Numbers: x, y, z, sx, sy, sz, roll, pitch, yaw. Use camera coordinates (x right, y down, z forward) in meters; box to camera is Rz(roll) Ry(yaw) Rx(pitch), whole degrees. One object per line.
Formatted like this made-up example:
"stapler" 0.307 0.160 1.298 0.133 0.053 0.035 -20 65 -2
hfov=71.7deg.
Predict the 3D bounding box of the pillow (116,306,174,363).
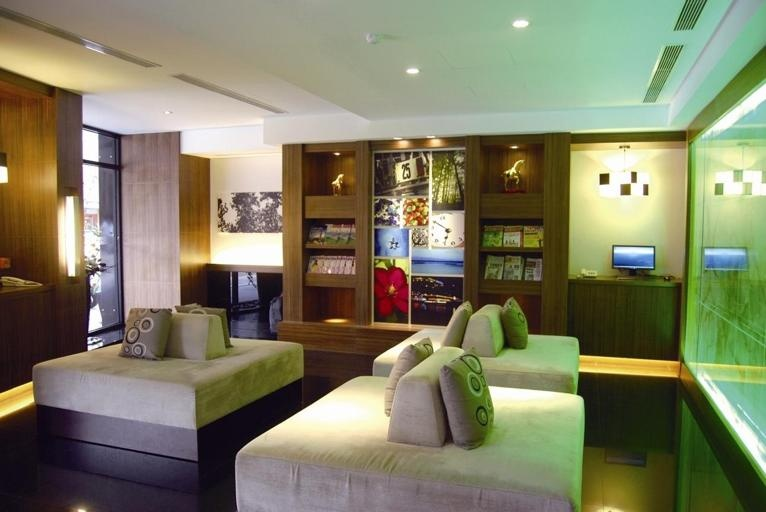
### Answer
"pillow" -2.528 0.826 5.621 0.653 0.531 0.265 -2 3 29

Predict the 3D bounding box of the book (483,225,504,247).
"book" 1.642 -0.276 7.911 0.307 0.360 0.052 0 -11 17

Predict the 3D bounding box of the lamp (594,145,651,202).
"lamp" 3.513 -1.178 7.825 0.785 0.773 0.802 0 -1 26

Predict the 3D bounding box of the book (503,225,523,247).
"book" 1.910 -0.286 7.820 0.280 0.268 0.172 3 13 10

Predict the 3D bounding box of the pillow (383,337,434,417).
"pillow" 0.254 1.088 4.691 0.278 0.513 0.812 5 -4 23

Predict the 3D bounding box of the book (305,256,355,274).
"book" -0.830 0.166 8.458 0.871 0.261 0.309 3 -7 9

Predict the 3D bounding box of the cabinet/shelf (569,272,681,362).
"cabinet/shelf" 3.435 0.915 7.494 1.148 1.087 0.390 1 4 17

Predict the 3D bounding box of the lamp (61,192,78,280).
"lamp" -4.078 -0.243 6.894 0.125 1.038 0.257 -2 13 -12

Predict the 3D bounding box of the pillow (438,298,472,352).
"pillow" 0.826 0.774 5.929 0.278 0.475 0.545 7 6 16

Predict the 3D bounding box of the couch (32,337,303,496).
"couch" -2.266 1.565 5.997 2.594 0.981 2.591 0 2 2

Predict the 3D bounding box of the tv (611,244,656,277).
"tv" 3.755 0.069 7.910 0.492 0.368 0.145 0 0 21

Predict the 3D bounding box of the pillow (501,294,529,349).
"pillow" 1.560 0.788 6.312 0.317 0.531 0.670 3 9 18

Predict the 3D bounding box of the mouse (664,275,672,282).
"mouse" 4.105 0.336 7.639 0.113 0.100 0.115 4 16 22

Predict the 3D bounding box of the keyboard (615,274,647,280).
"keyboard" 3.700 0.322 7.792 0.197 0.081 0.276 -1 -1 19

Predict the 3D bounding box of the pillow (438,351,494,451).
"pillow" 0.616 1.144 4.075 0.235 0.463 0.647 0 0 21

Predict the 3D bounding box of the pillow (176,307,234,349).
"pillow" -1.985 0.704 6.048 0.605 0.581 0.550 1 -1 20

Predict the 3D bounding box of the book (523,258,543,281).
"book" 2.172 0.207 7.712 0.230 0.282 0.271 3 13 8
